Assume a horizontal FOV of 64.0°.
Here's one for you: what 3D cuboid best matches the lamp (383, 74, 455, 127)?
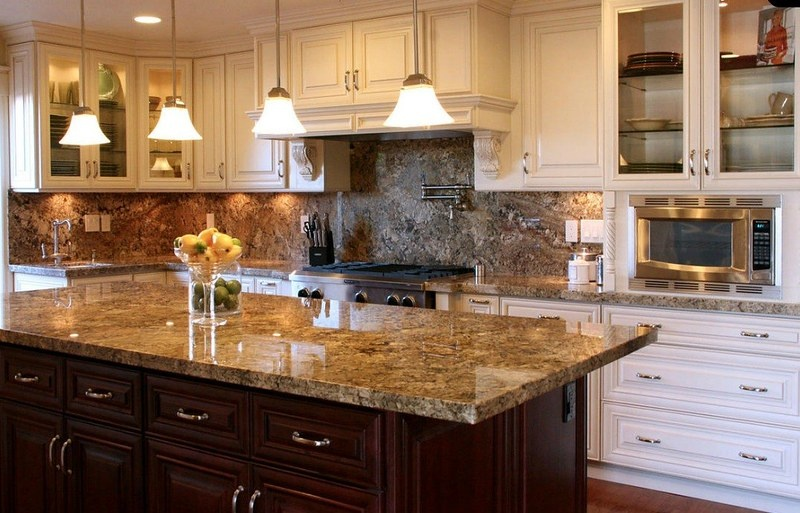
[{"bbox_3d":[0.084,-0.684,2.944,0.301,0.168,0.267,-1,5,17],"label":"lamp"}]

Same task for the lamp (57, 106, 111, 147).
[{"bbox_3d":[-1.677,-0.700,3.395,0.202,0.200,0.229,-3,9,-26],"label":"lamp"}]

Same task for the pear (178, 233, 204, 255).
[{"bbox_3d":[-1.031,-0.058,3.137,0.101,0.092,0.192,-5,9,-35],"label":"pear"}]

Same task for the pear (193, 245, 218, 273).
[{"bbox_3d":[-0.950,0.007,3.133,0.121,0.132,0.061,-3,29,-1],"label":"pear"}]

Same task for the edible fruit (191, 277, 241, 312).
[{"bbox_3d":[-0.934,0.197,3.288,0.202,0.124,0.189,1,-3,-3],"label":"edible fruit"}]

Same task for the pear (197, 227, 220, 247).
[{"bbox_3d":[-0.920,-0.084,3.186,0.102,0.048,0.123,11,50,33],"label":"pear"}]

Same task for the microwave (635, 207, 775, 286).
[{"bbox_3d":[1.975,-0.078,4.152,0.884,0.506,0.498,0,0,32],"label":"microwave"}]

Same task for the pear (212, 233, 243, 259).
[{"bbox_3d":[-0.841,-0.051,3.182,0.109,0.136,0.199,4,9,26],"label":"pear"}]

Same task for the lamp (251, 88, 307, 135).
[{"bbox_3d":[-0.581,-0.710,3.154,0.290,0.229,0.274,-8,18,-19],"label":"lamp"}]

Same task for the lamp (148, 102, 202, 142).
[{"bbox_3d":[-1.166,-0.709,3.279,0.205,0.207,0.221,-5,9,-34],"label":"lamp"}]
